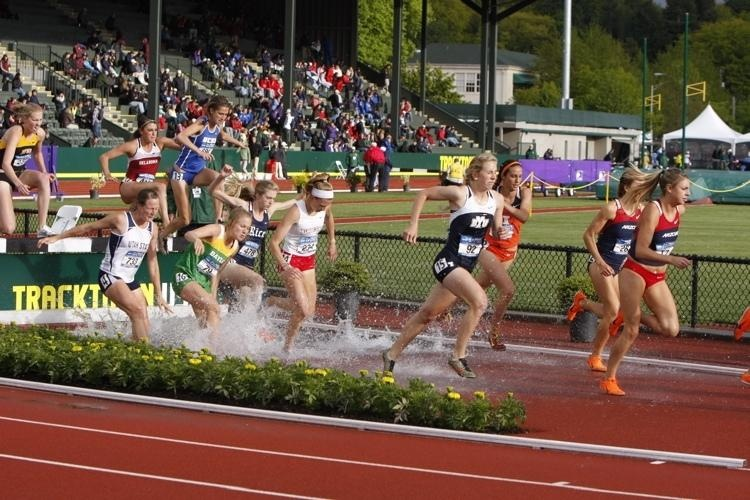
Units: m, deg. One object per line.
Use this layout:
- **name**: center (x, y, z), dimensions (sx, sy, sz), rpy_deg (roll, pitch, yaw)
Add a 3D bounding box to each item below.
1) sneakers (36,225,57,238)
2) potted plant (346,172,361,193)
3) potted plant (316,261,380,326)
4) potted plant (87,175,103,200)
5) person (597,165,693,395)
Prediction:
- **sneakers**: center (-5.257, -0.290, 14.458), dimensions (0.270, 0.148, 0.648), rpy_deg (0, 9, -19)
- **potted plant**: center (-0.960, -2.965, 39.180), dimensions (0.756, 0.926, 0.744), rpy_deg (-3, 9, -26)
- **potted plant**: center (-0.431, 0.715, 15.581), dimensions (0.921, 1.167, 0.919), rpy_deg (2, 5, 4)
- **potted plant**: center (-9.617, -2.189, 31.173), dimensions (0.516, 0.708, 1.540), rpy_deg (0, 9, -17)
- **person**: center (3.414, 0.388, 11.224), dimensions (0.906, 2.820, 1.002), rpy_deg (5, 8, 19)
